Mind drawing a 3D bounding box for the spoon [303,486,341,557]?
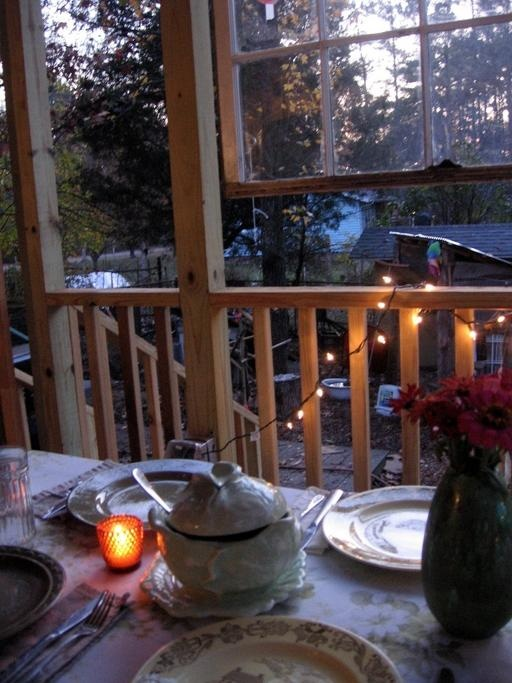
[{"bbox_3d":[0.109,0.256,0.830,0.018,0.023,0.167,-37,5,31],"label":"spoon"}]

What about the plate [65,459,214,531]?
[{"bbox_3d":[-0.185,0.251,0.919,0.219,0.019,0.214,-18,6,-36],"label":"plate"}]

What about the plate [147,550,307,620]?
[{"bbox_3d":[-0.014,0.293,0.712,0.159,0.018,0.161,-9,-7,10],"label":"plate"}]
